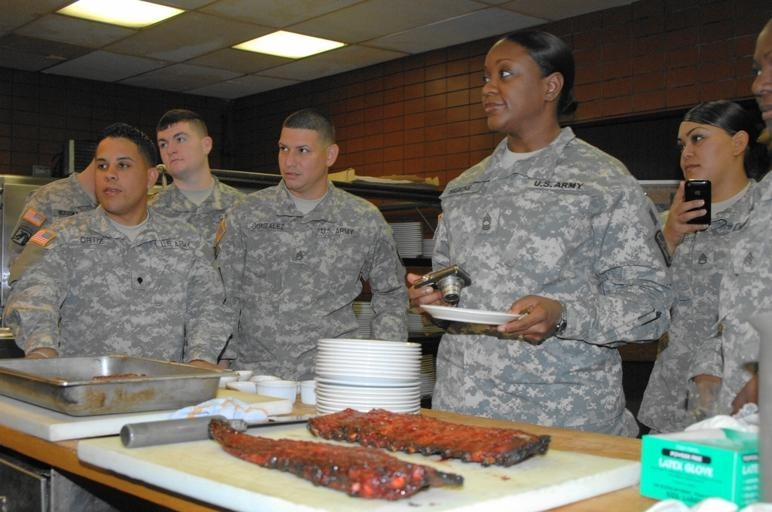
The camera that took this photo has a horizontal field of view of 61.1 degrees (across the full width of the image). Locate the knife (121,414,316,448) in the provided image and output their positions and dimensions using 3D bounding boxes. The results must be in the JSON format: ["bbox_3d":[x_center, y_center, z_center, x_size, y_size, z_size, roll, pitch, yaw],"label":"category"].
[{"bbox_3d":[-0.475,0.497,1.843,0.570,0.057,0.081,0,-1,-22],"label":"knife"}]

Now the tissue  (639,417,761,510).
[{"bbox_3d":[0.699,0.470,1.474,0.240,0.112,0.224,-2,-3,30],"label":"tissue "}]

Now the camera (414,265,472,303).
[{"bbox_3d":[0.217,0.118,2.398,0.198,0.079,0.129,-17,-37,26],"label":"camera"}]

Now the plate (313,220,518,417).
[{"bbox_3d":[0.130,0.351,2.212,0.623,0.288,0.357,4,-3,9],"label":"plate"}]

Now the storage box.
[{"bbox_3d":[0.696,0.477,1.469,0.221,0.104,0.220,-1,-2,42],"label":"storage box"}]
